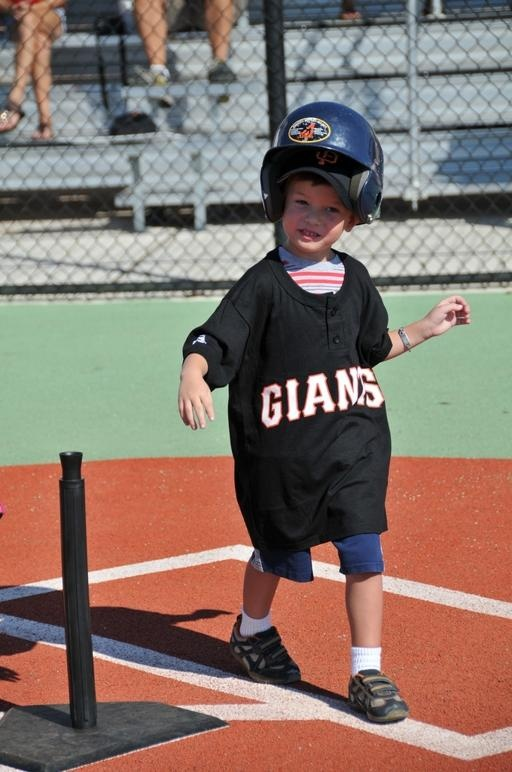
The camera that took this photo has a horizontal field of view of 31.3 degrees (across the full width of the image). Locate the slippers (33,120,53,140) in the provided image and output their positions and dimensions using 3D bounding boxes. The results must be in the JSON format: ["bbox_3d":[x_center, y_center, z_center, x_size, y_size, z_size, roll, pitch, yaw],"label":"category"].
[{"bbox_3d":[-1.339,-1.576,5.745,0.096,0.129,0.055,3,44,-7],"label":"slippers"}]

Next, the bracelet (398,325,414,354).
[{"bbox_3d":[0.405,-0.124,2.562,0.045,0.061,0.068,-11,-4,-6],"label":"bracelet"}]

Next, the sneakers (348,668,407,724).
[{"bbox_3d":[0.284,0.714,2.141,0.101,0.081,0.184,-6,6,-19],"label":"sneakers"}]

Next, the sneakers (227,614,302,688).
[{"bbox_3d":[0.017,0.689,2.392,0.220,0.088,0.089,23,25,39],"label":"sneakers"}]

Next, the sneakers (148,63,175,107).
[{"bbox_3d":[-0.596,-1.881,5.752,0.148,0.198,0.065,11,50,4],"label":"sneakers"}]

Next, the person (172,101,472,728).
[{"bbox_3d":[0.101,0.038,2.247,0.506,1.451,0.716,0,11,8],"label":"person"}]

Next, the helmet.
[{"bbox_3d":[0.147,-0.548,2.293,0.312,0.234,0.344,5,4,37],"label":"helmet"}]
